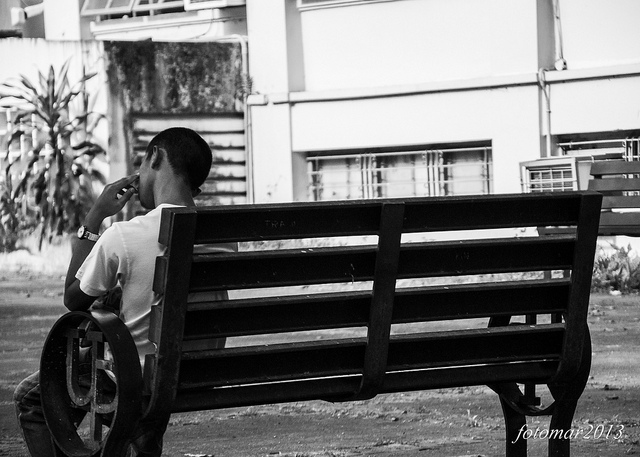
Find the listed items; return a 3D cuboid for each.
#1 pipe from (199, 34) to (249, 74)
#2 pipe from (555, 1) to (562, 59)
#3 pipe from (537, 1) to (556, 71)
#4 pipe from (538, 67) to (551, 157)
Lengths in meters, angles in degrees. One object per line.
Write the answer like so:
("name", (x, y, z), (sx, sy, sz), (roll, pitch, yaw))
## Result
("pipe", (-1.379, -2.781, 16.055), (0.336, 0.622, 0.714), (-11, 13, -43))
("pipe", (3.355, -2.786, 14.037), (0.071, 0.769, 0.187), (-2, 9, -1))
("pipe", (3.204, -2.717, 14.090), (0.191, 0.931, 0.411), (7, 13, 44))
("pipe", (3.118, -1.602, 13.892), (0.172, 1.208, 0.108), (0, 9, 14))
